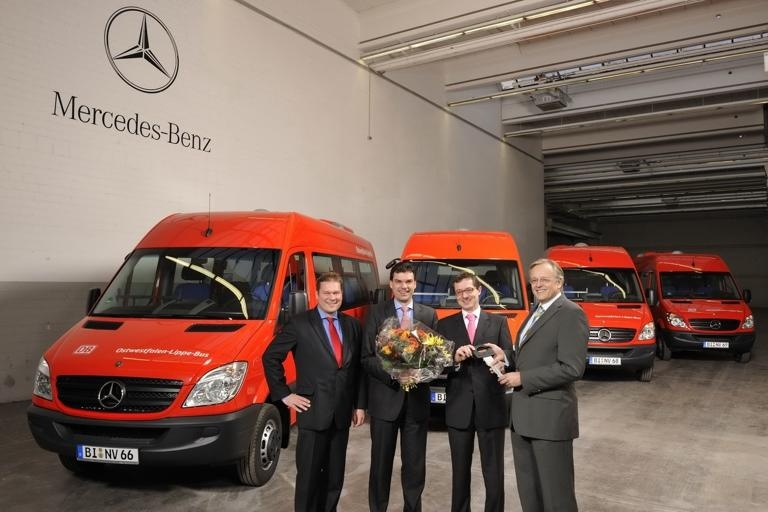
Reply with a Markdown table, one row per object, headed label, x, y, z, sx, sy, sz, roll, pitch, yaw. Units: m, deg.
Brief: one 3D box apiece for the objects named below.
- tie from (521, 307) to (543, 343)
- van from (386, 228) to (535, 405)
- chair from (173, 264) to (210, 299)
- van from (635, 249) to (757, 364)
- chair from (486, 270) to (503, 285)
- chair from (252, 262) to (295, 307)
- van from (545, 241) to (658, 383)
| label | x | y | z | sx | sy | sz | roll | pitch | yaw |
| --- | --- | --- | --- | --- | --- | --- | --- | --- | --- |
| tie | 1.300 | 0.569 | 4.250 | 0.097 | 0.458 | 0.061 | 10 | -42 | 26 |
| van | 1.318 | 0.629 | 9.148 | 2.515 | 2.512 | 4.552 | 1 | 7 | 4 |
| chair | -2.235 | 0.328 | 5.685 | 0.304 | 0.397 | 0.363 | 0 | -14 | -5 |
| van | 8.400 | 1.091 | 13.589 | 2.241 | 2.441 | 4.919 | -4 | 3 | 17 |
| chair | 1.765 | 0.344 | 7.762 | 0.203 | 0.259 | 0.223 | 2 | 8 | -23 |
| chair | -1.304 | 0.388 | 5.736 | 0.347 | 0.241 | 0.551 | 4 | 4 | 19 |
| van | 5.027 | 1.049 | 12.315 | 2.262 | 2.904 | 6.063 | -1 | -1 | 17 |
